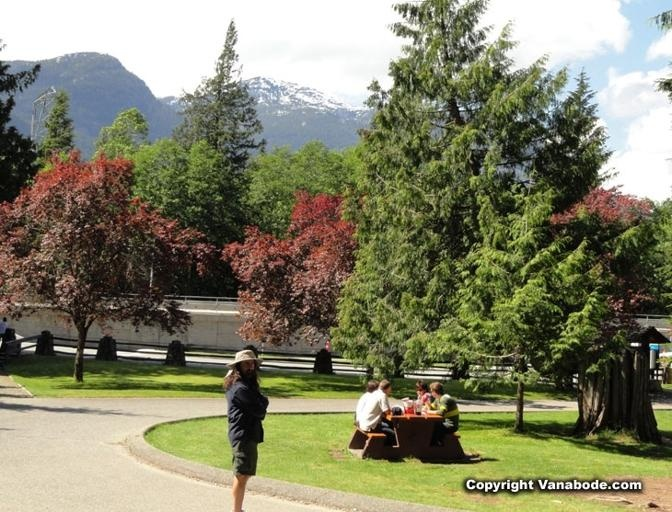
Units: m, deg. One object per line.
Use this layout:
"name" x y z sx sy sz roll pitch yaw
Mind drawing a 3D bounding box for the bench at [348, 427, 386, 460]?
"bench" 0.807 4.920 20.499 0.573 0.608 0.860 1 0 -16

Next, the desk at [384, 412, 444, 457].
"desk" 2.002 4.664 20.511 1.011 0.860 1.040 1 -5 -5

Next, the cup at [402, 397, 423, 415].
"cup" 2.009 4.009 21.012 0.411 0.340 0.330 1 -4 -2

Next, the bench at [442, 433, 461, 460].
"bench" 3.033 5.019 20.743 0.596 0.663 0.519 0 -2 9

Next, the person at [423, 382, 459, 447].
"person" 2.838 4.405 21.364 0.932 1.824 0.785 2 -8 0
